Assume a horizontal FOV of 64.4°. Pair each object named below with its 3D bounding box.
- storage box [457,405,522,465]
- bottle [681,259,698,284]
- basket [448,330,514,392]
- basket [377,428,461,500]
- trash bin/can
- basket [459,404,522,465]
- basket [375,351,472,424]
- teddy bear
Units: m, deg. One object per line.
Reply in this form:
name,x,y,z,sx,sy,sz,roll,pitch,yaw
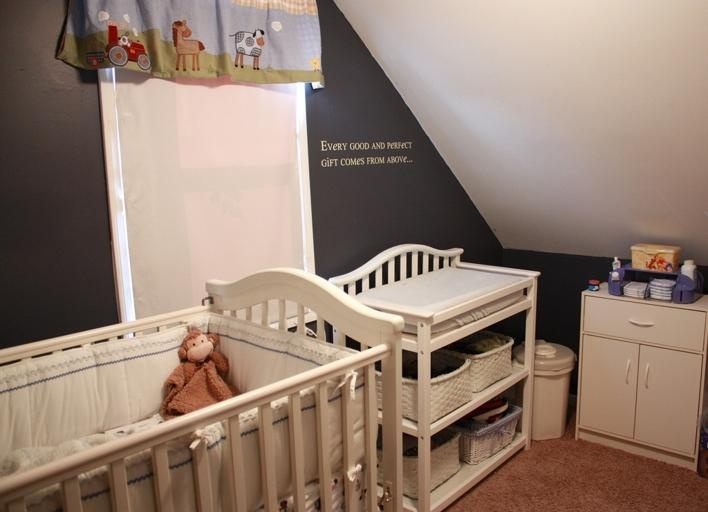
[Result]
storage box,0.763,0.971,3.133,0.232,0.153,0.320,-1,1,42
bottle,1.832,0.079,3.083,0.073,0.101,0.082,8,13,31
basket,0.720,0.570,3.121,0.238,0.172,0.359,-3,3,44
basket,0.381,1.040,2.920,0.333,0.176,0.341,3,6,40
trash bin/can,1.175,0.795,3.623,0.478,0.639,0.489,2,5,26
basket,0.755,0.970,3.136,0.234,0.151,0.314,-1,1,42
basket,0.378,0.639,2.838,0.391,0.156,0.305,-5,-3,42
teddy bear,-0.692,0.499,2.450,0.287,0.290,0.165,-8,-2,-35
